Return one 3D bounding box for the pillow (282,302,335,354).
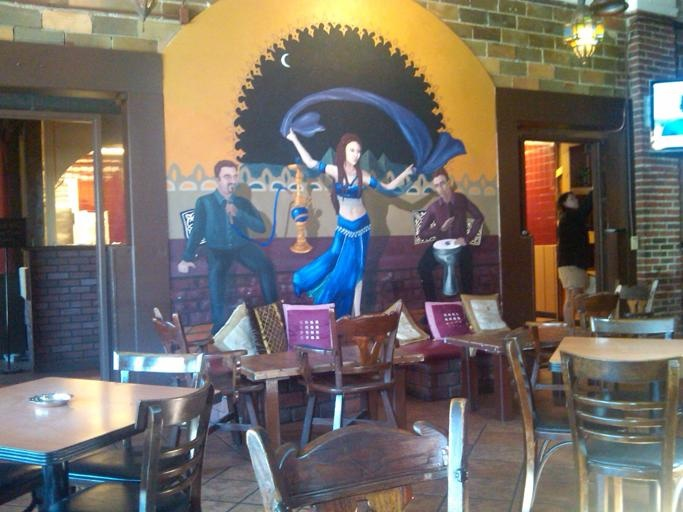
[{"bbox_3d":[-0.278,0.614,6.453,0.363,0.448,0.061,-7,-8,11],"label":"pillow"}]

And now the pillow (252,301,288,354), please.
[{"bbox_3d":[-0.636,0.644,6.958,0.282,0.423,0.102,-4,-12,-35],"label":"pillow"}]

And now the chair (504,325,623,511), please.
[{"bbox_3d":[1.396,1.018,5.284,0.868,1.471,0.860,-2,2,14],"label":"chair"}]

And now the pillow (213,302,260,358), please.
[{"bbox_3d":[-0.933,0.676,6.860,0.389,0.412,0.107,-31,-17,-22],"label":"pillow"}]

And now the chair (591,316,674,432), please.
[{"bbox_3d":[2.092,0.722,5.604,0.488,0.697,0.466,-5,-10,33],"label":"chair"}]
